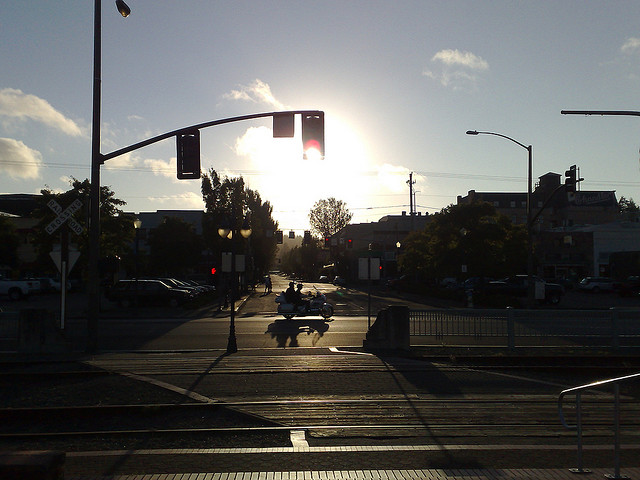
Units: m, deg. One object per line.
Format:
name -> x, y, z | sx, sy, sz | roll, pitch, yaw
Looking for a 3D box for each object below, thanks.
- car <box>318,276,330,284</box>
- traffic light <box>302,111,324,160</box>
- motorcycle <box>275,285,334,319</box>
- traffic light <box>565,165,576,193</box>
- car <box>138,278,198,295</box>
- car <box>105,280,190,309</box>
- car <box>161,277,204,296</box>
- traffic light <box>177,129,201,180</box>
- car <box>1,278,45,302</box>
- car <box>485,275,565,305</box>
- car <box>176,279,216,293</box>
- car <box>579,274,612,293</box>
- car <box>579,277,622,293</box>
car -> 0.574, 5.680, 105.227 | 0.959, 0.792, 2.215 | 0, 2, 0
traffic light -> -0.200, -2.932, 20.973 | 0.576, 1.315, 0.857 | -1, 8, -3
motorcycle -> -0.615, 2.671, 33.048 | 2.642, 1.579, 1.190 | 0, 16, 14
traffic light -> 9.896, -2.379, 29.720 | 0.409, 1.148, 2.069 | 2, 9, 18
car -> -9.257, 3.161, 46.010 | 3.158, 1.186, 1.503 | 0, -1, -9
car -> -9.331, 2.869, 40.527 | 3.588, 1.334, 1.738 | -2, -1, -11
car -> -8.707, 3.099, 48.989 | 2.266, 0.993, 1.397 | 6, -6, -8
traffic light -> -3.735, -2.425, 21.324 | 0.623, 1.369, 0.708 | -2, 8, -12
car -> -19.517, 3.310, 49.288 | 2.335, 0.906, 1.194 | 4, -2, 2
car -> 11.948, 3.232, 44.026 | 4.251, 1.658, 2.051 | -1, 0, 4
car -> -10.052, 4.002, 60.980 | 3.252, 1.218, 1.465 | 1, 1, 0
car -> 22.431, 3.649, 61.192 | 2.234, 0.808, 1.061 | -5, 2, -11
car -> 21.981, 3.589, 59.408 | 2.422, 0.885, 1.162 | -4, 0, 8
